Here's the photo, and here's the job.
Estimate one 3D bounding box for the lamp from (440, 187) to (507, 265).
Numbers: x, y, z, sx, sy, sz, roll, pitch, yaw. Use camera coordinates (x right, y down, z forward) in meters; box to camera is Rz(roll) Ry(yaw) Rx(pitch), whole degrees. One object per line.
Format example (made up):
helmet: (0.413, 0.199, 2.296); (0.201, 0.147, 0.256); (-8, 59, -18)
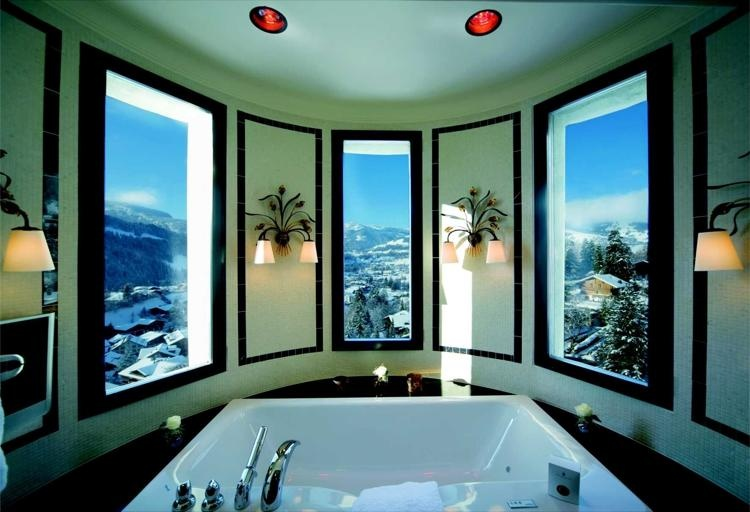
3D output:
lamp: (0.764, -0.229, 4.154); (0.628, 0.560, 0.193); (-1, 8, 20)

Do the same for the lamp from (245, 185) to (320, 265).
lamp: (-0.754, -0.241, 4.160); (0.663, 0.609, 0.227); (-2, 4, -35)

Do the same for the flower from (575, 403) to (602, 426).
flower: (1.459, 1.077, 3.575); (0.151, 0.122, 0.144); (-18, 2, -11)

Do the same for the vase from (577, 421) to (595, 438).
vase: (1.403, 1.153, 3.518); (0.122, 0.081, 0.111); (4, -5, 1)

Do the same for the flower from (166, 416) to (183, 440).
flower: (-1.310, 1.126, 3.481); (0.104, 0.102, 0.135); (15, -6, -28)
